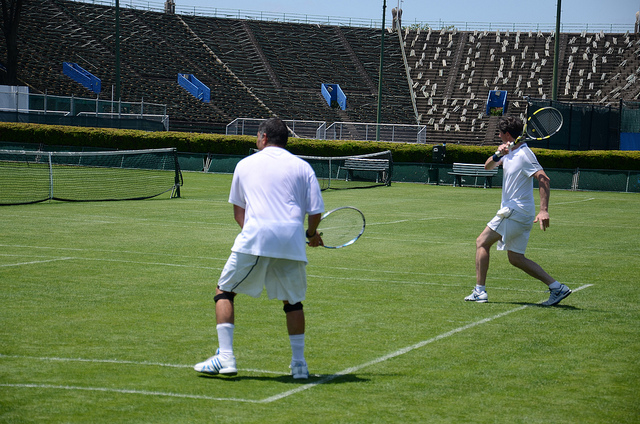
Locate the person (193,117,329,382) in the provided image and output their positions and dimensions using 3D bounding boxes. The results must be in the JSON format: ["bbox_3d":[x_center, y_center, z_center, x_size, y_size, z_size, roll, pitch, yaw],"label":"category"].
[{"bbox_3d":[-0.702,0.512,11.736,1.461,3.470,1.008,0,12,-4],"label":"person"}]
